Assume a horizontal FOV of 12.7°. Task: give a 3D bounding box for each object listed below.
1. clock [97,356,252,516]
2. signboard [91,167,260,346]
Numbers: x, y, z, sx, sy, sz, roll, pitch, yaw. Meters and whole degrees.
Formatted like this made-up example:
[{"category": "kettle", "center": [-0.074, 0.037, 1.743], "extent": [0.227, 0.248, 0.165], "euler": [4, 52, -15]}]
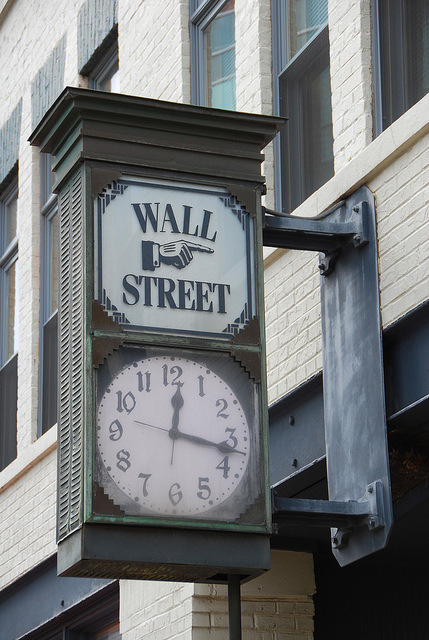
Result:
[{"category": "clock", "center": [-0.171, 0.548, 8.552], "extent": [0.693, 0.934, 0.051], "euler": [5, -44, -8]}, {"category": "signboard", "center": [-0.175, -0.277, 8.841], "extent": [0.784, 0.047, 1.029], "euler": [5, -46, 3]}]
